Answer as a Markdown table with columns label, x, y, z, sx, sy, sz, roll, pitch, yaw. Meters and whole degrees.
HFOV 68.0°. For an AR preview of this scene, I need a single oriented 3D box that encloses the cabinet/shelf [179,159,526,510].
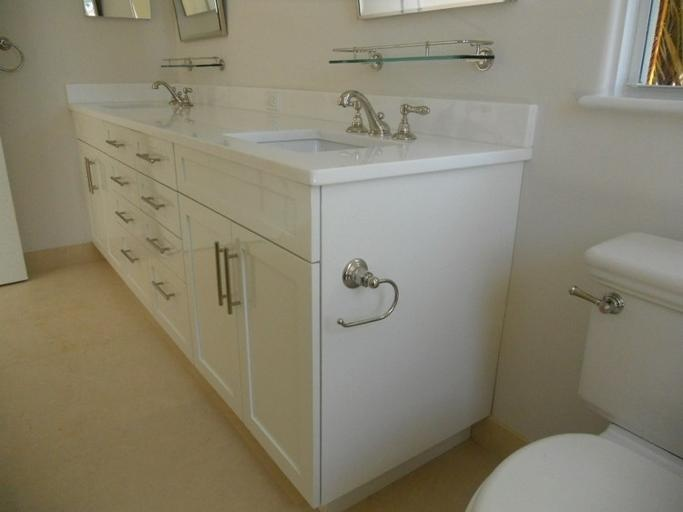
| label | x | y | z | sx | sy | sz | roll | pitch | yaw |
| --- | --- | --- | --- | --- | --- | --- | --- | --- | --- |
| cabinet/shelf | 0.155 | 0.090 | 2.050 | 0.890 | 1.451 | 0.884 | -15 | 26 | -32 |

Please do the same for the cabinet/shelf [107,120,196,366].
| label | x | y | z | sx | sy | sz | roll | pitch | yaw |
| --- | --- | --- | --- | --- | --- | --- | --- | --- | --- |
| cabinet/shelf | -0.869 | -0.054 | 2.337 | 0.303 | 0.681 | 0.880 | -10 | 29 | -32 |

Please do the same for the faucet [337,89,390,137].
| label | x | y | z | sx | sy | sz | roll | pitch | yaw |
| --- | --- | --- | --- | --- | --- | --- | --- | --- | --- |
| faucet | 0.040 | -0.530 | 1.878 | 0.263 | 0.202 | 0.117 | -12 | 25 | -31 |
